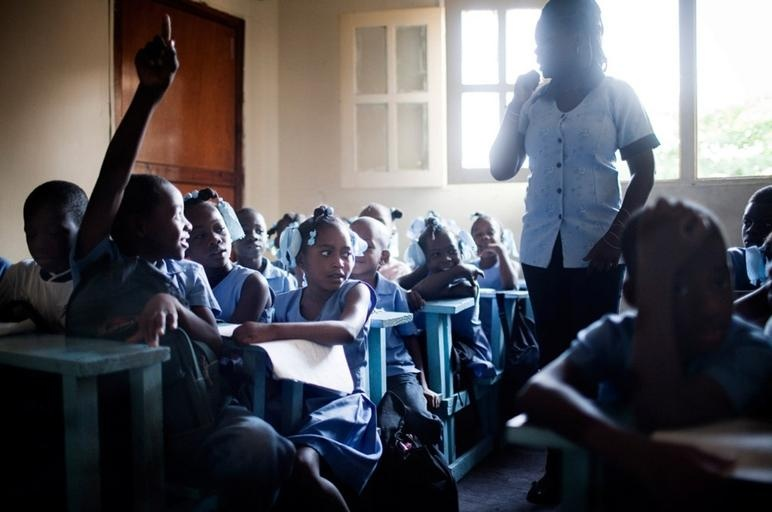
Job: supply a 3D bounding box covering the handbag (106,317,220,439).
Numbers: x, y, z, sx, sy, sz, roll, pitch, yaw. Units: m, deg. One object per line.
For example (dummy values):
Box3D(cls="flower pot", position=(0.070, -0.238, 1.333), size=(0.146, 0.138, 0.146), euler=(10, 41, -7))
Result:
Box3D(cls="handbag", position=(-0.570, 0.331, 1.640), size=(0.323, 0.307, 0.231), euler=(-1, 1, -15))
